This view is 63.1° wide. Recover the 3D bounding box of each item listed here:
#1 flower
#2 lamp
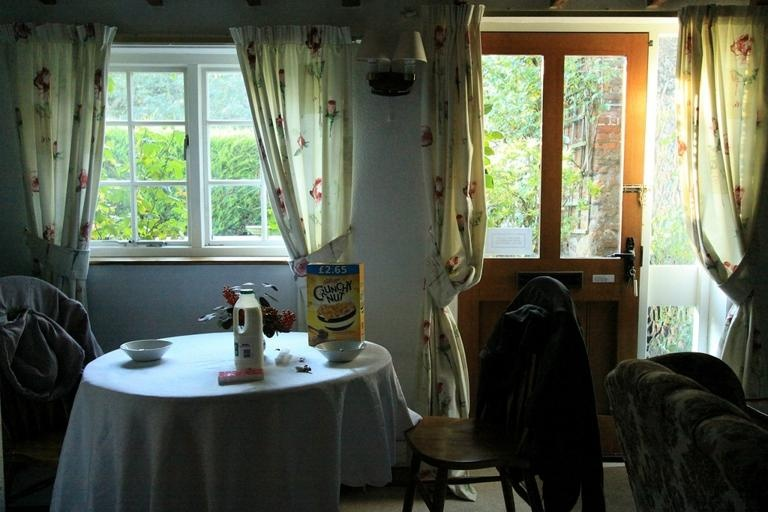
[{"bbox_3d":[-0.670,0.276,3.196,0.443,0.202,0.494,-4,15,-23],"label":"flower"},{"bbox_3d":[0.036,-1.192,3.685,0.422,0.456,0.228,1,10,-4],"label":"lamp"}]
